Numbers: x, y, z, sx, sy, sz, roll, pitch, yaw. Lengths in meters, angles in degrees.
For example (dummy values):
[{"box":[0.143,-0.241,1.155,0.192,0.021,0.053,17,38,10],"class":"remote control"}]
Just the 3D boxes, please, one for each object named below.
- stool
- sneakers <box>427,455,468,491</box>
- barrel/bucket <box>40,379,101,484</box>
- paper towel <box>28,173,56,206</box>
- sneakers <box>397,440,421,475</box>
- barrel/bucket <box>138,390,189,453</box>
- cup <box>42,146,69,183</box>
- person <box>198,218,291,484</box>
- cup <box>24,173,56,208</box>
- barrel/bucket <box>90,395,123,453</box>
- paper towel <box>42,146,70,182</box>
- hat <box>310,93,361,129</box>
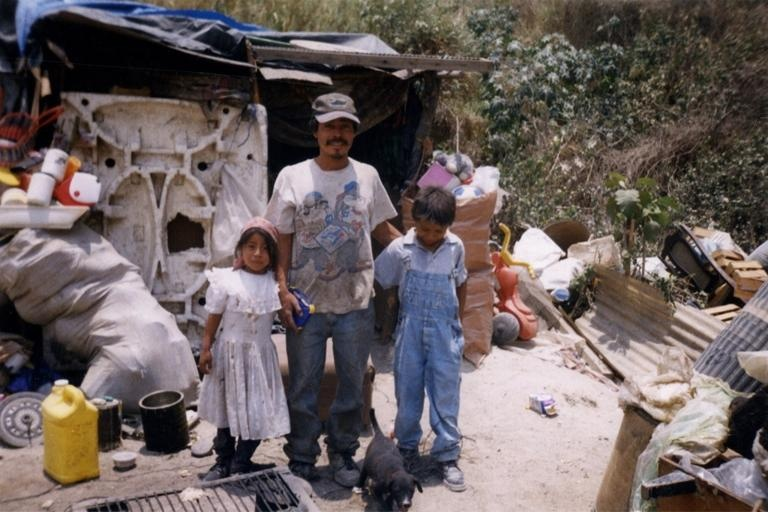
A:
[{"box":[-0.463,1.212,7.467,0.900,0.632,0.930,2,14,1],"class":"stool"},{"box":[0.600,2.010,6.686,0.173,0.179,0.379,-13,33,-37],"class":"sneakers"},{"box":[-2.852,1.603,6.612,0.429,0.825,0.471,2,6,0],"class":"barrel/bucket"},{"box":[-3.505,-0.688,7.394,0.219,0.283,0.251,6,25,-5],"class":"paper towel"},{"box":[0.219,1.875,6.800,0.107,0.211,0.412,-1,35,-18],"class":"sneakers"},{"box":[-2.118,1.602,7.031,0.433,0.495,0.435,-2,14,1],"class":"barrel/bucket"},{"box":[-3.445,-0.961,7.585,0.257,0.309,0.271,7,-9,1],"class":"cup"},{"box":[-1.212,0.645,6.307,0.767,1.700,0.931,1,26,-15],"class":"person"},{"box":[-3.464,-0.670,7.403,0.296,0.349,0.304,9,-16,2],"class":"cup"},{"box":[-2.657,1.632,6.940,0.260,0.448,0.267,-2,2,0],"class":"barrel/bucket"},{"box":[-3.430,-0.925,7.581,0.258,0.305,0.271,3,-18,-22],"class":"paper towel"},{"box":[-0.444,-1.323,6.563,0.462,0.316,0.622,-2,11,-21],"class":"hat"}]
